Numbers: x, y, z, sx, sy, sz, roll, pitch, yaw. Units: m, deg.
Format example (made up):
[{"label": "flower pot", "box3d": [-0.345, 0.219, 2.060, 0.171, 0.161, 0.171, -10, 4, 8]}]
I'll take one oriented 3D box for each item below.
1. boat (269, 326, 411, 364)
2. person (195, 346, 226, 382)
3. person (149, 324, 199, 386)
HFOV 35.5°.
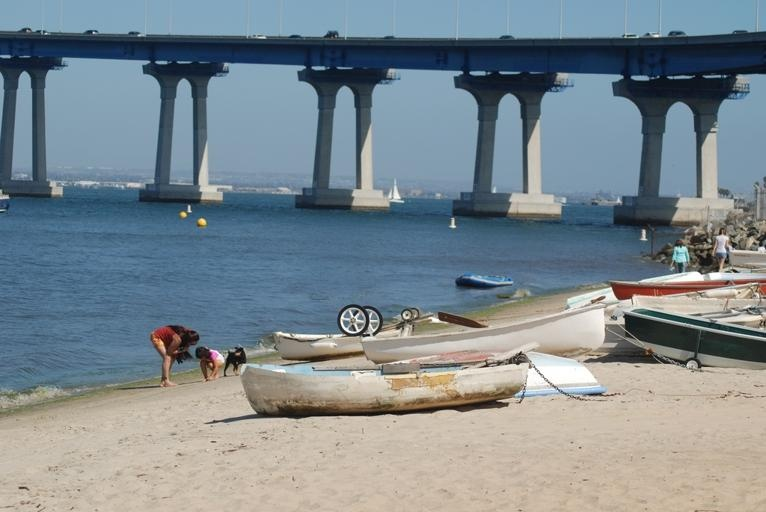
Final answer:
[{"label": "boat", "box3d": [-1.313, 3.242, 41.954, 6.113, 1.255, 1.544, -1, -2, 0]}, {"label": "person", "box3d": [-5.932, 3.627, 41.204, 0.905, 1.070, 1.649, 0, 11, -4]}, {"label": "person", "box3d": [-6.982, 3.359, 40.219, 1.447, 2.063, 1.059, 3, 12, 6]}]
